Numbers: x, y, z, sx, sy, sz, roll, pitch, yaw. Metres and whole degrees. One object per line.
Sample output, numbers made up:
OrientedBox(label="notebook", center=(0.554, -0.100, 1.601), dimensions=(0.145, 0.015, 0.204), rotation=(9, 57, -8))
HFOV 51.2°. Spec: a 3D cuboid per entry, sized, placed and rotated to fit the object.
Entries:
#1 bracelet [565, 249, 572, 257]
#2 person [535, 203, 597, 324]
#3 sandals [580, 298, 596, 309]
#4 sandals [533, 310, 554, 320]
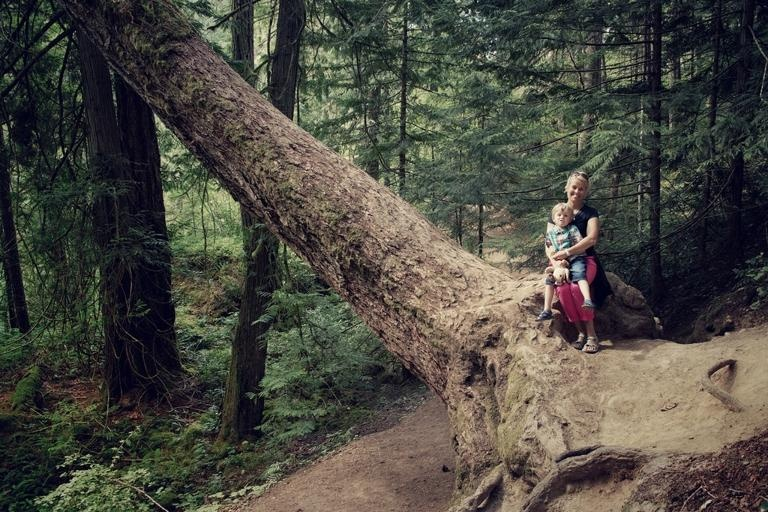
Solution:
OrientedBox(label="bracelet", center=(3.869, -0.079, 16.749), dimensions=(0.146, 0.159, 0.044), rotation=(-7, 4, 11))
OrientedBox(label="person", center=(3.742, -0.010, 16.625), dimensions=(0.942, 2.210, 1.168), rotation=(-6, 4, 14))
OrientedBox(label="sandals", center=(4.228, 0.950, 16.479), dimensions=(0.327, 0.209, 0.154), rotation=(-11, 5, -41))
OrientedBox(label="sandals", center=(3.238, 1.161, 16.113), dimensions=(0.426, 0.190, 0.147), rotation=(-8, 5, -15))
